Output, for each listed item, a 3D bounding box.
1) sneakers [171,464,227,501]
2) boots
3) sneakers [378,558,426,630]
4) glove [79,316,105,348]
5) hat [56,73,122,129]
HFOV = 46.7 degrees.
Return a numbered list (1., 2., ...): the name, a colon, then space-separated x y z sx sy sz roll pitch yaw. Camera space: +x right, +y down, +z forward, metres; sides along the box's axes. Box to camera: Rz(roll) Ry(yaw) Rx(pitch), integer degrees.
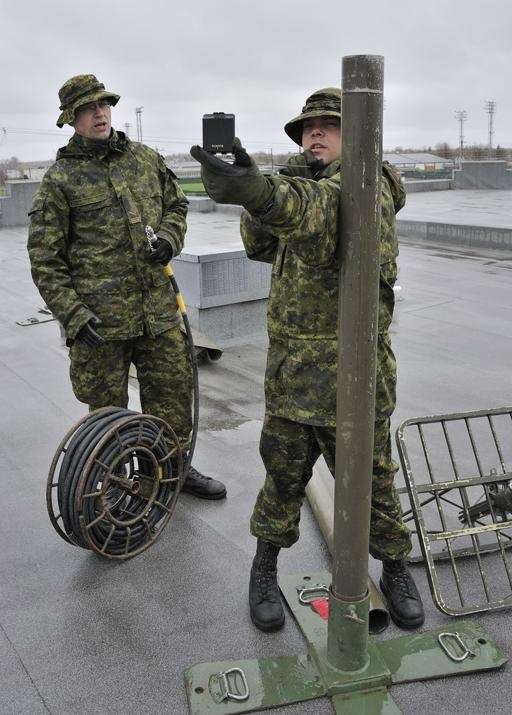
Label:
1. sneakers: -0.269 0.660 3.106 0.310 0.123 0.122 9 16 19
2. boots: 0.031 0.841 2.149 0.117 0.181 0.309 2 9 -2
3. sneakers: 0.478 0.862 2.143 0.099 0.152 0.257 -5 6 -5
4. glove: -0.720 -0.108 2.654 0.126 0.125 0.042 -43 8 -4
5. hat: -0.773 -1.142 2.618 0.254 0.208 0.144 -3 14 -1
